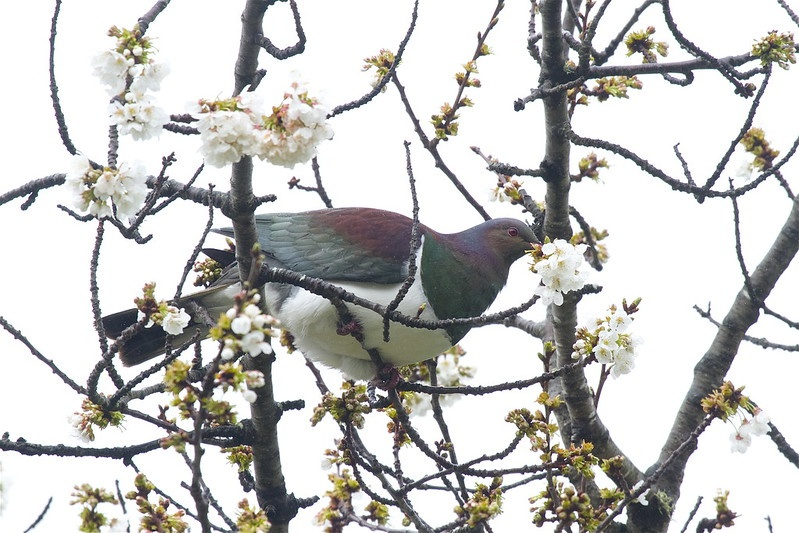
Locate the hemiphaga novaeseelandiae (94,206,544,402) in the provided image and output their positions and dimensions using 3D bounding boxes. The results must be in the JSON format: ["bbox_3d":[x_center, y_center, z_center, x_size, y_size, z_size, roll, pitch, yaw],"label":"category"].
[{"bbox_3d":[-0.527,0.126,11.147,2.927,1.249,0.968,5,-32,9],"label":"hemiphaga novaeseelandiae"}]
